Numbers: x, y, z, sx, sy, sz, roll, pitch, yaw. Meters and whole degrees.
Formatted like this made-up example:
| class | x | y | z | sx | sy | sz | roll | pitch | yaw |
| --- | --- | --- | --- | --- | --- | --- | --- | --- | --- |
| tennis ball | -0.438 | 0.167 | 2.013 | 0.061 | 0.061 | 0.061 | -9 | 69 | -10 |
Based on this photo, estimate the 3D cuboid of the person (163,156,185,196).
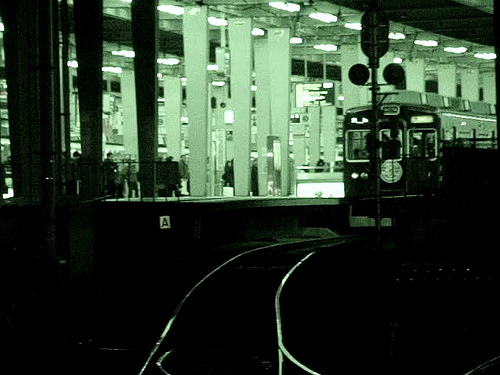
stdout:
| class | x | y | z | sx | sy | sz | roll | pitch | yaw |
| --- | --- | --- | --- | --- | --- | --- | --- | --- | --- |
| person | -1.851 | -0.205 | 18.256 | 0.378 | 0.835 | 0.325 | -2 | 9 | -9 |

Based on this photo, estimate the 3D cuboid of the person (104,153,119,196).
| class | x | y | z | sx | sy | sz | roll | pitch | yaw |
| --- | --- | --- | --- | --- | --- | --- | --- | --- | --- |
| person | -3.475 | -0.366 | 19.691 | 0.325 | 1.267 | 0.344 | -6 | 27 | -16 |

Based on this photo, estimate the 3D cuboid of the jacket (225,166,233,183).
| class | x | y | z | sx | sy | sz | roll | pitch | yaw |
| --- | --- | --- | --- | --- | --- | --- | --- | --- | --- |
| jacket | -0.847 | -0.534 | 30.451 | 0.303 | 0.663 | 0.253 | -3 | 9 | -13 |

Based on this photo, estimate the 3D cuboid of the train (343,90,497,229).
| class | x | y | z | sx | sy | sz | roll | pitch | yaw |
| --- | --- | --- | --- | --- | --- | --- | --- | --- | --- |
| train | 4.790 | -0.982 | 24.537 | 2.207 | 4.285 | 12.002 | -2 | -1 | 27 |

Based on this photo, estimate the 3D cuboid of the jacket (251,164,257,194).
| class | x | y | z | sx | sy | sz | roll | pitch | yaw |
| --- | --- | --- | --- | --- | --- | --- | --- | --- | --- |
| jacket | 0.133 | -0.345 | 29.976 | 0.331 | 1.018 | 0.235 | 3 | 10 | 26 |

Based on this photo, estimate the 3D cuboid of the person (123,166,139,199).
| class | x | y | z | sx | sy | sz | roll | pitch | yaw |
| --- | --- | --- | --- | --- | --- | --- | --- | --- | --- |
| person | -2.905 | -0.120 | 19.294 | 0.259 | 0.709 | 1.219 | -2 | 10 | -9 |

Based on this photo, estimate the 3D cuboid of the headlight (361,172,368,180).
| class | x | y | z | sx | sy | sz | roll | pitch | yaw |
| --- | --- | --- | --- | --- | --- | --- | --- | --- | --- |
| headlight | 3.304 | -0.394 | 22.910 | 0.058 | 0.265 | 0.229 | -3 | 13 | -45 |

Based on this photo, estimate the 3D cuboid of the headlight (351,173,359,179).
| class | x | y | z | sx | sy | sz | roll | pitch | yaw |
| --- | --- | --- | --- | --- | --- | --- | --- | --- | --- |
| headlight | 3.098 | -0.364 | 23.176 | 0.202 | 0.232 | 0.122 | 12 | 34 | 17 |

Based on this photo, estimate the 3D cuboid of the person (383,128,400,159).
| class | x | y | z | sx | sy | sz | roll | pitch | yaw |
| --- | --- | --- | --- | --- | --- | --- | --- | --- | --- |
| person | 3.423 | -1.061 | 18.483 | 0.507 | 0.873 | 0.559 | -1 | 3 | 6 |
